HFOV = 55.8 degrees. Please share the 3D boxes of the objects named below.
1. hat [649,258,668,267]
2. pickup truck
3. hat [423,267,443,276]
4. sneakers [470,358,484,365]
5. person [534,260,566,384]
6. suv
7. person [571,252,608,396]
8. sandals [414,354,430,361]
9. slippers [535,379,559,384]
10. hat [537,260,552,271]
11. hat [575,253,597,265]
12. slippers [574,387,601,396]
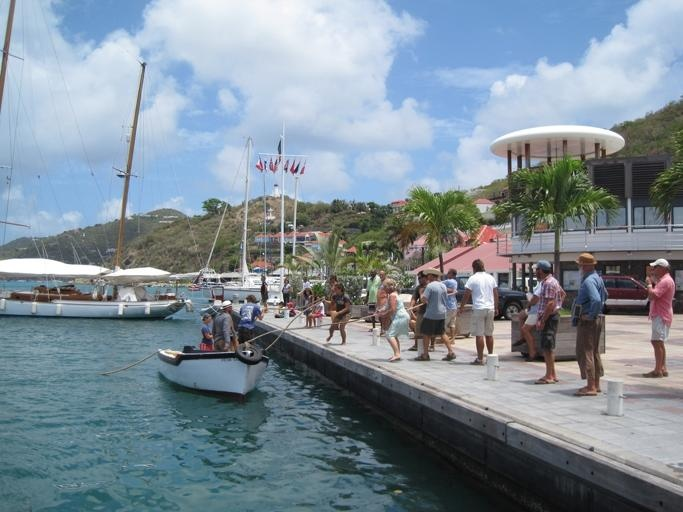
[{"bbox_3d":[8.850,0.149,17.991,0.485,0.262,0.322,4,-3,22],"label":"hat"},{"bbox_3d":[9.174,1.209,20.925,4.004,1.745,1.906,-2,-2,11],"label":"pickup truck"},{"bbox_3d":[2.284,0.380,16.264,0.318,0.215,0.942,0,-3,1],"label":"hat"},{"bbox_3d":[3.222,2.518,15.518,0.131,0.125,0.289,0,0,-13],"label":"sneakers"},{"bbox_3d":[4.220,1.357,13.155,0.538,2.511,0.673,-1,-3,21],"label":"person"},{"bbox_3d":[5.704,1.799,25.689,3.602,1.601,2.061,-3,1,-1],"label":"suv"},{"bbox_3d":[4.776,1.304,12.413,0.580,2.711,0.783,-1,-3,21],"label":"person"},{"bbox_3d":[2.028,2.547,16.428,0.396,0.161,0.271,0,-3,11],"label":"sandals"},{"bbox_3d":[4.220,2.574,13.324,0.312,0.074,0.165,1,0,9],"label":"slippers"},{"bbox_3d":[4.830,0.197,15.432,0.322,0.178,0.446,3,9,7],"label":"hat"},{"bbox_3d":[6.899,0.041,18.144,0.598,0.237,0.548,3,9,25],"label":"hat"},{"bbox_3d":[4.714,2.599,12.396,0.389,0.155,0.201,2,-3,6],"label":"slippers"}]
